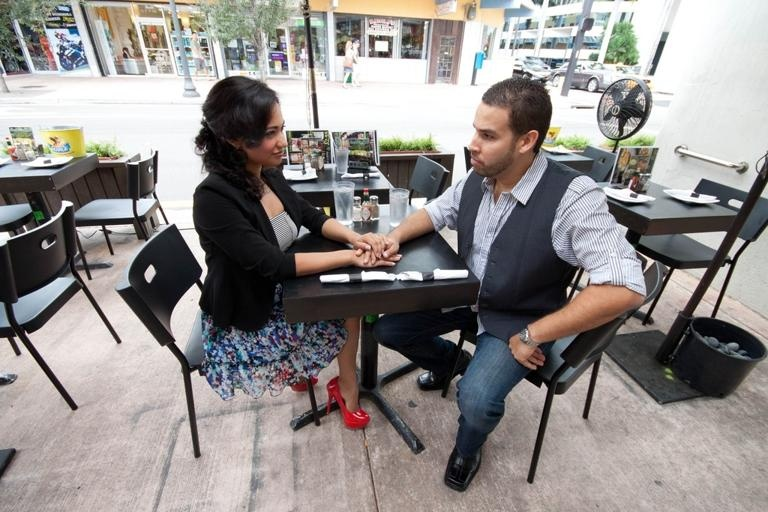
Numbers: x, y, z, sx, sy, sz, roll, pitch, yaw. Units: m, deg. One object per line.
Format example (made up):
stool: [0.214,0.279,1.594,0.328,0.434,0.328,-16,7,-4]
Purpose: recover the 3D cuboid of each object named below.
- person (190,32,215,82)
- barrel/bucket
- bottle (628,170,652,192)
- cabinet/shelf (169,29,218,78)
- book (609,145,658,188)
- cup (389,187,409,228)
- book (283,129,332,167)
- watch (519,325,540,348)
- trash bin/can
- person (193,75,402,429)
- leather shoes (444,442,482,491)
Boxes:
person: [-4.423,-5.007,11.177,0.308,1.096,1.156,-6,13,-1]
barrel/bucket: [2.450,0.742,3.517,0.588,0.501,0.603,15,27,-8]
bottle: [2.121,-0.640,3.759,0.117,0.108,0.193,27,79,27]
cabinet/shelf: [-4.812,-5.338,11.533,1.234,1.176,0.442,11,27,15]
book: [2.115,-0.768,3.830,0.385,0.351,0.037,-6,25,-9]
cup: [0.080,-0.337,3.119,0.180,0.249,0.178,2,9,0]
book: [-0.685,-0.969,3.978,0.554,0.399,0.019,-4,19,-17]
watch: [0.875,0.479,2.716,0.098,0.068,0.102,41,7,-13]
trash bin/can: [2.508,0.729,3.581,0.588,0.510,0.601,29,30,21]
person: [-0.553,0.108,3.059,1.408,2.362,0.927,4,21,11]
leather shoes: [0.521,1.342,2.943,0.171,0.111,0.303,18,75,15]
